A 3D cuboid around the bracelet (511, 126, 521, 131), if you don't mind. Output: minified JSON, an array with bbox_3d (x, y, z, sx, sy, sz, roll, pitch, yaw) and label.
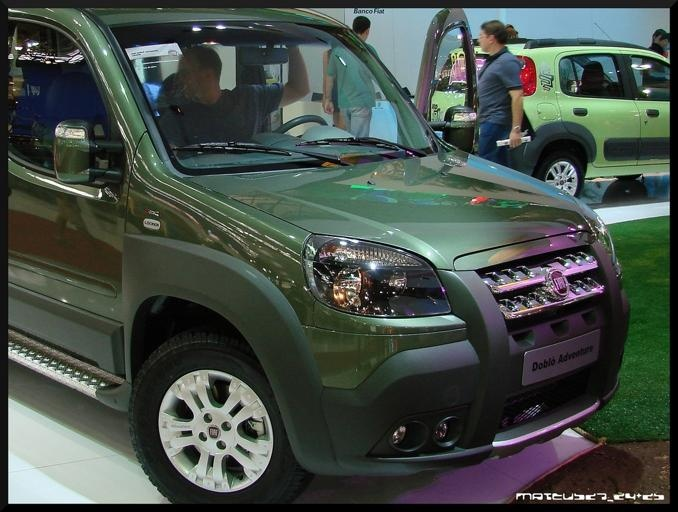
[{"bbox_3d":[2.029,-1.463,5.455,0.085,0.016,0.076,-1,0,-6],"label":"bracelet"}]

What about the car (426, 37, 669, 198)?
[{"bbox_3d":[3.291,-2.049,7.367,4.405,1.878,2.355,-6,12,-16],"label":"car"}]

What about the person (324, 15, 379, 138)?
[{"bbox_3d":[0.077,-1.094,3.070,0.350,0.874,0.251,2,51,-1],"label":"person"}]
